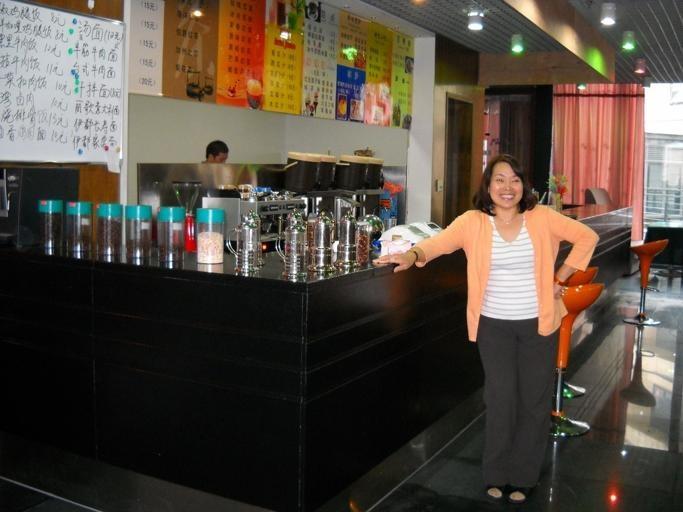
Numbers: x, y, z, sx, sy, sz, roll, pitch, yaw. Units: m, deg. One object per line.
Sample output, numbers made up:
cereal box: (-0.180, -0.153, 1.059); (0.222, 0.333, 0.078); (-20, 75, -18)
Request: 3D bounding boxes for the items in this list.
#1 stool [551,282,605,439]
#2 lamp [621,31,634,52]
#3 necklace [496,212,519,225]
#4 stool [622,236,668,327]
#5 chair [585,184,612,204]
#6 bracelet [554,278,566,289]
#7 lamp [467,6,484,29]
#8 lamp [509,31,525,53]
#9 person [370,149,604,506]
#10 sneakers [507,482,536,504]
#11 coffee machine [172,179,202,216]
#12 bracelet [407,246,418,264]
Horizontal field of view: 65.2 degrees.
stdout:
stool: (1.495, 0.684, 3.584); (0.331, 0.954, 0.379); (10, -3, -12)
lamp: (3.917, -2.923, 7.269); (0.127, 0.250, 0.170); (5, 9, 26)
necklace: (0.821, -0.178, 2.638); (0.111, 0.056, 0.040); (4, 8, 16)
stool: (3.584, 0.290, 6.277); (0.366, 1.015, 0.807); (5, 9, 29)
chair: (4.482, -1.012, 9.167); (0.327, 0.445, 0.379); (-4, -1, -5)
bracelet: (1.107, 0.143, 2.698); (0.035, 0.039, 0.047); (15, -22, 7)
lamp: (1.392, -2.440, 5.531); (0.144, 0.154, 0.148); (0, 0, 4)
lamp: (2.188, -2.618, 6.617); (0.166, 0.187, 0.168); (4, -7, -18)
person: (0.827, 0.341, 2.740); (0.870, 1.671, 0.293); (3, 8, 15)
sneakers: (0.938, 1.218, 2.796); (0.086, 0.046, 0.138); (-2, 4, 32)
coffee machine: (-0.984, -0.330, 3.360); (0.218, 0.218, 0.208); (-1, -17, -33)
bracelet: (0.358, 0.000, 2.746); (0.063, 0.065, 0.078); (0, 0, -4)
